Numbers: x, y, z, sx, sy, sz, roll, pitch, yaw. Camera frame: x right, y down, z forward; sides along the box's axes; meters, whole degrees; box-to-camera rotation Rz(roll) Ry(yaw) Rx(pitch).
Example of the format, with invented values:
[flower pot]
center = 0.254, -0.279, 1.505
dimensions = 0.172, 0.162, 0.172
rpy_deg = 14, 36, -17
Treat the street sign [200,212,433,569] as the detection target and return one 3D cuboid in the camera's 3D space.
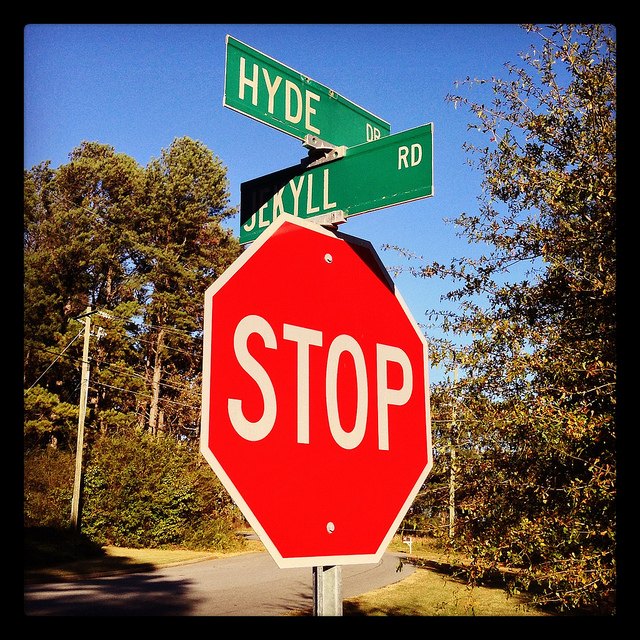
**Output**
[street sign]
center = 0.023, 0.229, 3.028
dimensions = 0.818, 1.204, 0.039
rpy_deg = 8, -24, -18
